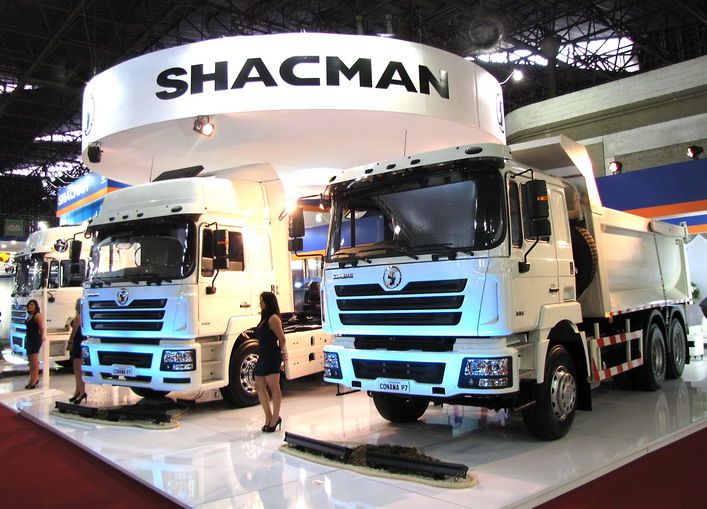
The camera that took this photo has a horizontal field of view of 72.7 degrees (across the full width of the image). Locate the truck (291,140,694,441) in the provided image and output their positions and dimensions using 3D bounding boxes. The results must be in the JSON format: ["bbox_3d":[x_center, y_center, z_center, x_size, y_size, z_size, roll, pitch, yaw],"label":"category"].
[{"bbox_3d":[2.778,0.687,8.411,6.960,3.132,3.182,7,-12,-43],"label":"truck"}]

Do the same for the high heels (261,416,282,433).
[{"bbox_3d":[-1.212,2.586,7.271,0.127,0.166,0.380,-6,-15,29],"label":"high heels"}]

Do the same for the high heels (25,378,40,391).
[{"bbox_3d":[-7.389,3.021,11.022,0.140,0.171,0.413,-4,-14,7],"label":"high heels"}]

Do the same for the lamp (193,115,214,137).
[{"bbox_3d":[-3.249,-2.774,10.370,0.403,0.385,0.384,-1,-4,-21],"label":"lamp"}]

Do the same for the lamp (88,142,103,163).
[{"bbox_3d":[-6.232,-2.462,11.523,0.348,0.319,0.454,4,-27,-17],"label":"lamp"}]

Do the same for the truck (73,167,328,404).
[{"bbox_3d":[-2.439,0.766,10.532,3.378,3.489,5.608,-9,-10,30],"label":"truck"}]

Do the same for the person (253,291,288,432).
[{"bbox_3d":[-1.245,1.604,7.233,0.615,2.081,0.405,-5,-5,42],"label":"person"}]

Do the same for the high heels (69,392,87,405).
[{"bbox_3d":[-5.284,2.770,9.289,0.233,0.163,0.396,-6,-15,12],"label":"high heels"}]
